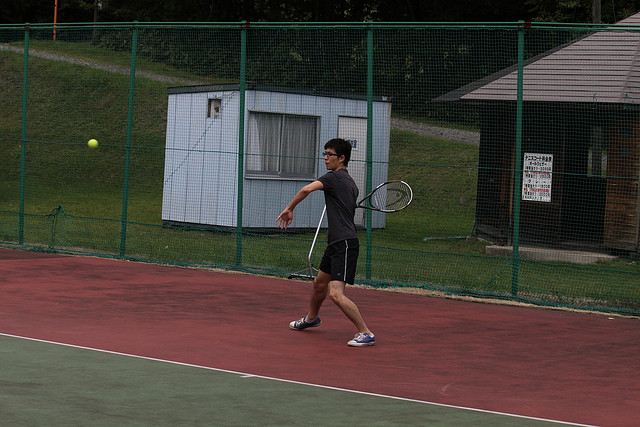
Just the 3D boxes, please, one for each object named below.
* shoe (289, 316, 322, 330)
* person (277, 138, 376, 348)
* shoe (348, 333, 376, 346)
[{"bbox_3d":[-0.215,1.594,11.456,0.494,0.192,0.170,-1,2,0],"label":"shoe"},{"bbox_3d":[0.177,0.388,10.959,1.293,2.807,0.764,3,9,4],"label":"person"},{"bbox_3d":[0.578,1.738,10.889,0.383,0.154,0.142,3,-4,-11],"label":"shoe"}]
